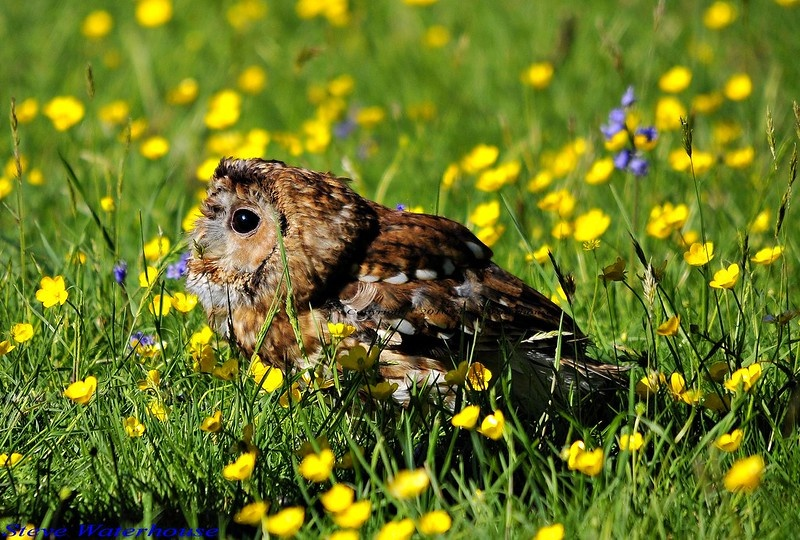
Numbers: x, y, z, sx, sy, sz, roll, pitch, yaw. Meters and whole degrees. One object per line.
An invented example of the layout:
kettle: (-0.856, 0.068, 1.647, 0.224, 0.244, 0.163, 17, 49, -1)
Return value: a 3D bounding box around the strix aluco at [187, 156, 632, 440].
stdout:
strix aluco: (0.039, -0.011, 4.200, 1.693, 1.209, 0.911, -11, 2, -6)
